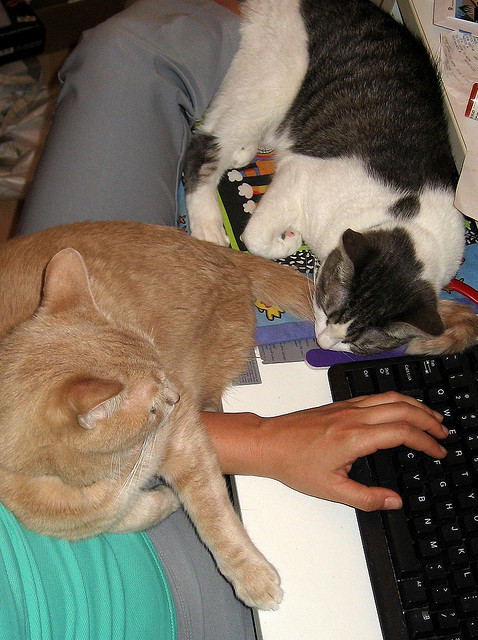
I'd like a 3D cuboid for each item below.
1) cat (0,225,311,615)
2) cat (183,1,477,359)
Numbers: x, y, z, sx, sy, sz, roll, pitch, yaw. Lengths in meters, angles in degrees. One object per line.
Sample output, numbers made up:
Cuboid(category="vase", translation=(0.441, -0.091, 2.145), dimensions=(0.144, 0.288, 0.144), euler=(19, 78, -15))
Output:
Cuboid(category="cat", translation=(-0.217, 0.092, 1.208), dimensions=(0.676, 0.337, 0.800), euler=(9, 72, -20))
Cuboid(category="cat", translation=(0.235, -0.348, 1.647), dimensions=(0.665, 0.362, 1.028), euler=(-1, 76, -10))
